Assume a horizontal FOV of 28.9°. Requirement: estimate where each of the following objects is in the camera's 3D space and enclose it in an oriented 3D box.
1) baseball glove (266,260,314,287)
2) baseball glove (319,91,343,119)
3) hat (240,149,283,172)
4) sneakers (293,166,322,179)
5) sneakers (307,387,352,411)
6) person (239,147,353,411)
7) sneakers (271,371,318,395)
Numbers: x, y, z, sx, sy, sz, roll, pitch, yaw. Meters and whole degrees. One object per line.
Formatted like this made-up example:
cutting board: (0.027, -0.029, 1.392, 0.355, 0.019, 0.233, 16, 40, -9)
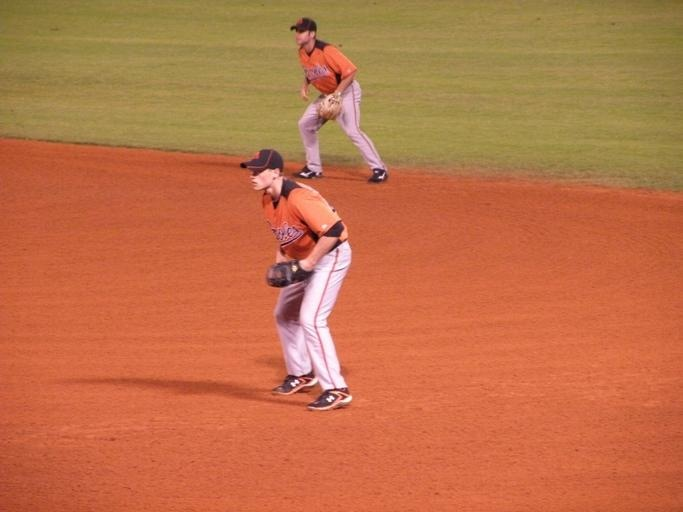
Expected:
baseball glove: (-0.585, 0.178, 13.752, 0.463, 0.199, 0.185, 1, 13, -23)
baseball glove: (-0.275, -2.123, 18.660, 0.342, 0.336, 0.380, 22, 2, -11)
hat: (-0.844, -0.985, 13.635, 0.414, 0.158, 0.224, -2, 12, -10)
sneakers: (-0.519, -1.227, 19.574, 0.497, 0.170, 0.149, 2, 29, 3)
sneakers: (-0.120, 1.484, 14.005, 0.522, 0.181, 0.186, -7, 18, -14)
person: (-0.445, 0.242, 13.977, 1.035, 2.733, 0.722, -2, 7, 1)
sneakers: (-0.507, 1.376, 14.260, 0.522, 0.186, 0.187, -16, 20, -21)
